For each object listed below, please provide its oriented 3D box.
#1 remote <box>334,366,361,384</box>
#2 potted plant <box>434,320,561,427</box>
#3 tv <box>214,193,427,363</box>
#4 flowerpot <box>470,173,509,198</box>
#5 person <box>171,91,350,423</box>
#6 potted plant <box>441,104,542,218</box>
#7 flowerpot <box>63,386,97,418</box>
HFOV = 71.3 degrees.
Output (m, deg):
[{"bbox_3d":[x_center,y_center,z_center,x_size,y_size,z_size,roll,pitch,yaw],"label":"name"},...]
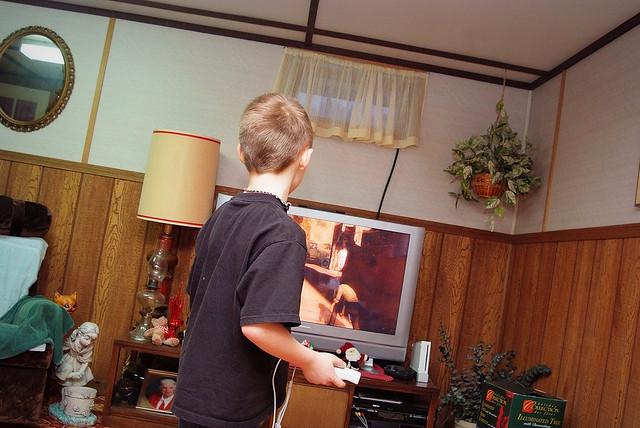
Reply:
[{"bbox_3d":[0.118,0.639,1.793,0.076,0.022,0.079,17,3,1],"label":"remote"},{"bbox_3d":[1.251,1.329,3.391,0.768,0.817,0.941,10,-7,1],"label":"potted plant"},{"bbox_3d":[-0.082,0.584,3.819,1.537,1.200,0.826,9,-1,-24],"label":"tv"},{"bbox_3d":[1.407,-0.240,3.728,0.302,0.191,0.193,8,-8,13],"label":"flowerpot"},{"bbox_3d":[-0.204,0.199,1.817,0.647,1.370,0.371,10,-7,-8],"label":"person"},{"bbox_3d":[1.446,-0.482,3.786,0.660,0.662,0.600,1,5,4],"label":"potted plant"},{"bbox_3d":[-1.797,1.404,3.345,0.229,0.188,0.233,4,-12,17],"label":"flowerpot"}]
